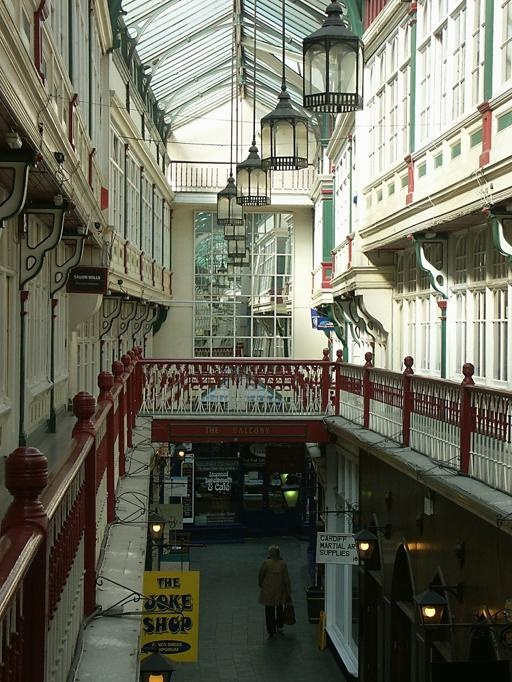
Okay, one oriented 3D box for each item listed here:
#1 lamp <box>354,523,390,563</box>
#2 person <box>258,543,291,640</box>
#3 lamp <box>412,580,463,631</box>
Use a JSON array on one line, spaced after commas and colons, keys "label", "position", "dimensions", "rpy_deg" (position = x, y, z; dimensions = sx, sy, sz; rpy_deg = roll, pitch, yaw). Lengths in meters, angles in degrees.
[{"label": "lamp", "position": [1.356, 2.482, 8.652], "dimensions": [0.295, 0.410, 0.308], "rpy_deg": [4, 7, 25]}, {"label": "person", "position": [0.364, 4.877, 13.756], "dimensions": [0.512, 1.925, 0.499], "rpy_deg": [-1, 16, -6]}, {"label": "lamp", "position": [1.433, 2.086, 5.410], "dimensions": [0.289, 0.372, 0.240], "rpy_deg": [-5, -40, 21]}]
